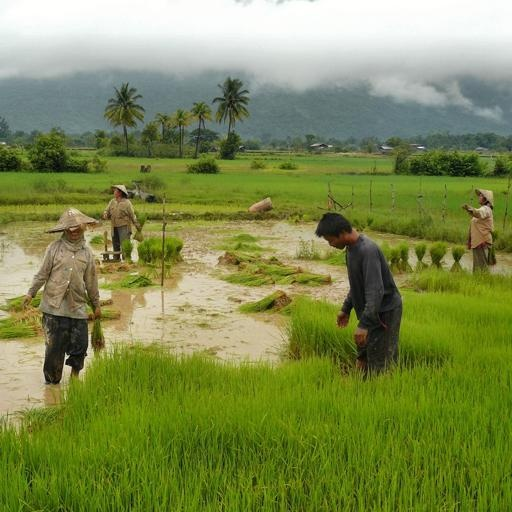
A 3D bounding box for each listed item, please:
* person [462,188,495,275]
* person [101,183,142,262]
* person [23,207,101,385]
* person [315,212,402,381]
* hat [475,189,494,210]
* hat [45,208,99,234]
[{"bbox_3d":[3.936,-0.416,12.940,0.474,1.559,1.083,2,8,17],"label":"person"},{"bbox_3d":[-2.793,-0.676,15.246,0.691,1.607,1.612,-2,8,-12],"label":"person"},{"bbox_3d":[-2.062,0.447,7.874,0.796,1.912,0.441,-4,8,-26],"label":"person"},{"bbox_3d":[1.022,0.394,6.966,0.720,1.609,0.533,-7,10,-42],"label":"person"},{"bbox_3d":[3.953,-0.999,12.679,0.284,0.334,0.523,2,8,16],"label":"hat"},{"bbox_3d":[-1.934,-0.365,7.837,0.321,0.155,0.345,-10,-4,-2],"label":"hat"}]
